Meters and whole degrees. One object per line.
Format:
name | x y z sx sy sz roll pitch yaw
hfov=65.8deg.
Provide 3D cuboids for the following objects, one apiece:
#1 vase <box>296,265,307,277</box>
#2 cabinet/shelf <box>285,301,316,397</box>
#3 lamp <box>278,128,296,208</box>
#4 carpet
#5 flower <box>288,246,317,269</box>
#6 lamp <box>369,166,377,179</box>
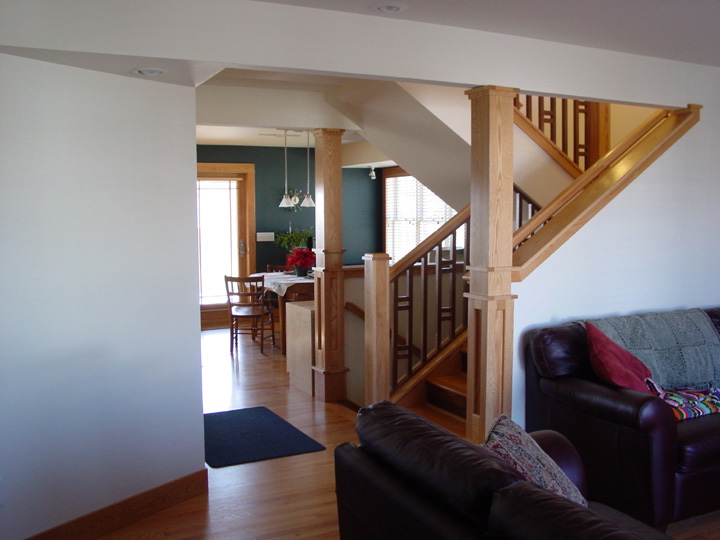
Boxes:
vase | -0.812 0.027 7.600 0.137 0.115 0.145 1 1 0
cabinet/shelf | -0.614 0.831 5.734 0.422 0.866 0.841 0 5 -14
lamp | -1.229 -1.538 9.043 0.277 1.079 1.041 -3 6 -8
carpet | -0.833 1.327 4.502 0.872 0.045 1.047 -5 6 -20
flower | -0.792 -0.164 7.436 0.330 0.346 0.337 1 9 2
lamp | 0.228 -1.740 10.110 0.160 0.305 0.123 1 5 -16
